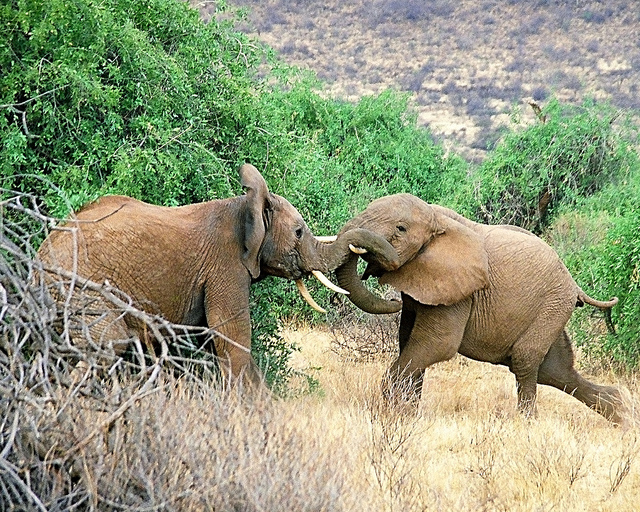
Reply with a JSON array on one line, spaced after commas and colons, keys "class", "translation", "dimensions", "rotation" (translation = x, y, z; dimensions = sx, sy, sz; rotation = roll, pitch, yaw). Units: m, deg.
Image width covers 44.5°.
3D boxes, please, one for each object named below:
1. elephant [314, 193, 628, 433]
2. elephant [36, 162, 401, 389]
[{"class": "elephant", "translation": [1.660, 0.644, 8.305], "dimensions": [3.109, 2.344, 1.450], "rotation": [11, 12, 1]}, {"class": "elephant", "translation": [-0.869, 0.369, 7.072], "dimensions": [3.048, 2.228, 0.940], "rotation": [-1, 10, -13]}]
